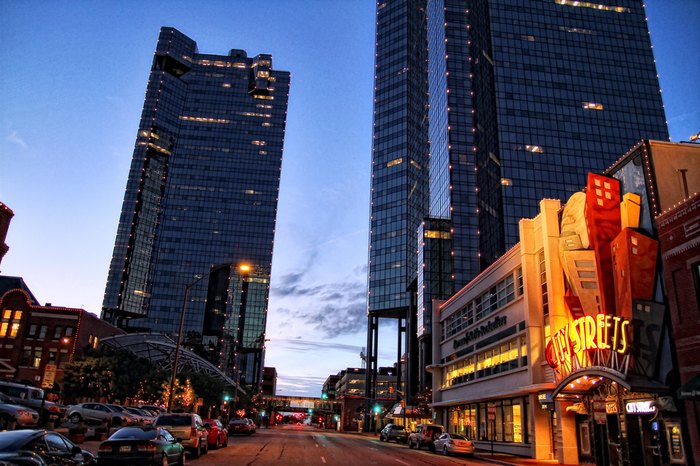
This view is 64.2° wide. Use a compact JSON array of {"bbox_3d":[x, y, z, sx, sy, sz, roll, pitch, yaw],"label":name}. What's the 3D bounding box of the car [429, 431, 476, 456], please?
[{"bbox_3d":[9.645,19.778,52.149,1.807,1.916,3.791,10,-23,-19],"label":"car"}]
